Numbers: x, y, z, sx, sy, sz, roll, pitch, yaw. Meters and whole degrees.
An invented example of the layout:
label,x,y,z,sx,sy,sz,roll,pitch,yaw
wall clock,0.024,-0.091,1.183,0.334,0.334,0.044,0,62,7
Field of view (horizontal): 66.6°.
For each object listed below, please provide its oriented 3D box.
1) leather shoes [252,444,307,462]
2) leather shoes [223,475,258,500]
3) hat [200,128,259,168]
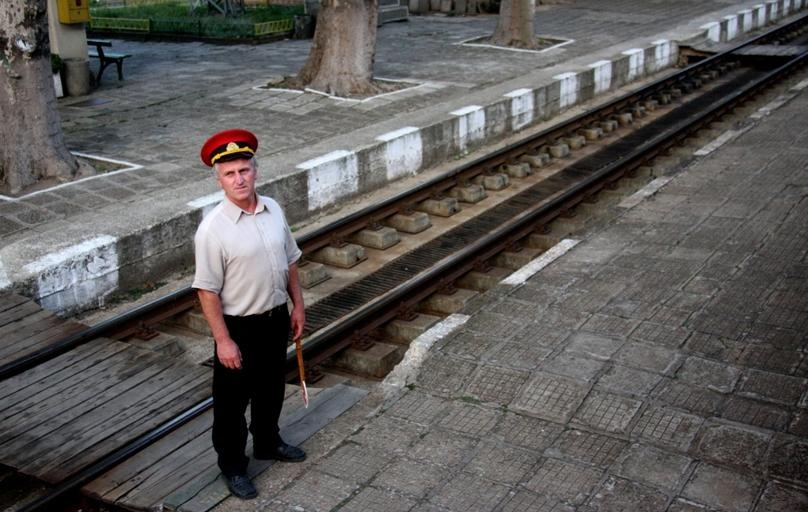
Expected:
label,x,y,z,sx,sy,sz,roll,pitch,yaw
leather shoes,-1.049,1.709,5.324,0.501,0.150,0.157,0,23,2
leather shoes,-1.330,1.862,5.031,0.325,0.104,0.125,11,27,30
hat,-1.391,-0.825,4.914,0.492,0.188,0.481,-15,2,28
